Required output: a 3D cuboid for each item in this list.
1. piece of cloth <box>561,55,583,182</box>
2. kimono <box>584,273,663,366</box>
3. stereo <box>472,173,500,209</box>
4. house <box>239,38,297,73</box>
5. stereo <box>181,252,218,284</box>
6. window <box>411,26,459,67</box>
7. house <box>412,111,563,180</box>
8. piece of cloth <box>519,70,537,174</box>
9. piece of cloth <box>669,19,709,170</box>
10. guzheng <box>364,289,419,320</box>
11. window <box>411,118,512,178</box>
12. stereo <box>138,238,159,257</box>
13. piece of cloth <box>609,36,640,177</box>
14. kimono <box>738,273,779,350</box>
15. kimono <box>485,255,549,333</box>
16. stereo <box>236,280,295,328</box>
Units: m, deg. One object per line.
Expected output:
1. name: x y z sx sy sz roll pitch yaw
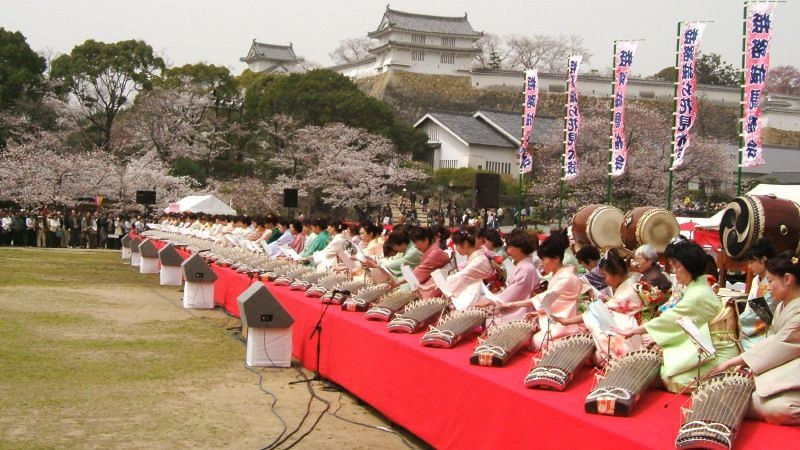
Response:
1. piece of cloth: 7.157 -4.508 35.154 0.906 5.330 0.217 5 -3 -22
2. kimono: 5.326 2.308 20.766 1.427 0.704 1.828 -27 41 -33
3. stereo: 3.343 -1.211 31.892 1.110 1.360 1.176 -4 -12 31
4. house: -13.011 -17.278 87.491 4.859 3.953 8.895 3 2 -12
5. stereo: -6.203 1.303 26.335 0.889 0.798 0.895 -1 2 -22
6. window: 3.157 -15.769 75.785 3.603 2.578 0.912 3 3 -5
7. house: 6.686 -6.056 60.772 8.255 3.119 5.237 -5 9 -36
8. piece of cloth: 5.629 -4.654 37.352 0.552 4.590 1.976 3 3 8
9. piece of cloth: 10.264 -4.675 30.709 0.777 5.296 0.850 4 3 15
10. guzheng: -0.422 2.030 22.582 0.697 0.371 1.265 6 31 18
11. window: 4.829 -5.805 59.669 6.552 4.249 3.277 3 2 1
12. stereo: -9.375 0.897 31.913 0.559 0.757 0.784 -4 2 -8
13. piece of cloth: 8.519 -4.565 33.013 0.742 5.145 1.598 4 3 15
14. kimono: 8.443 2.176 20.525 0.503 1.626 1.227 -1 9 2
15. kimono: 2.933 1.873 22.512 1.509 2.251 1.615 13 -6 6
16. stereo: -3.713 2.035 23.347 1.145 1.018 1.442 0 -2 -15
